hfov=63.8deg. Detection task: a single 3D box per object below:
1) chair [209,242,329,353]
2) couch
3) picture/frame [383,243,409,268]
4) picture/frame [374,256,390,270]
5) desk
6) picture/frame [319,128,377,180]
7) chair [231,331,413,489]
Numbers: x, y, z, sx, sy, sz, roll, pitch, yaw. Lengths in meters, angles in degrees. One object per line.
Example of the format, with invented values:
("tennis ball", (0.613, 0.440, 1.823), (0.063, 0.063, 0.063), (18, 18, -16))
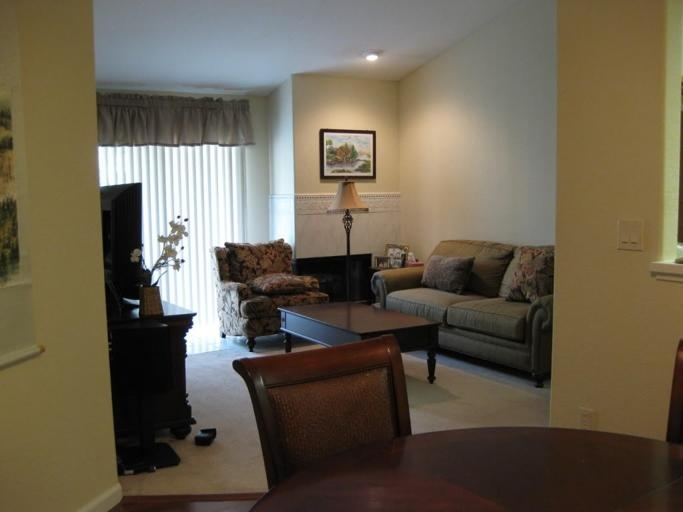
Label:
("chair", (-0.898, 0.389, 6.024), (0.937, 1.245, 1.257), (0, -3, -28))
("couch", (1.363, 0.436, 5.256), (0.996, 1.108, 2.313), (-1, 3, -31))
("picture/frame", (0.686, 0.015, 6.837), (0.269, 0.328, 0.092), (-5, -27, 33))
("picture/frame", (0.525, 0.106, 6.976), (0.248, 0.143, 0.180), (4, -11, 9))
("desk", (-1.148, 0.619, 3.568), (0.603, 0.979, 1.026), (-3, 7, -22))
("picture/frame", (0.052, -1.265, 6.865), (0.719, 0.633, 0.029), (-3, 10, -20))
("chair", (-0.052, 0.374, 1.836), (0.444, 0.777, 0.484), (-2, -1, -28))
